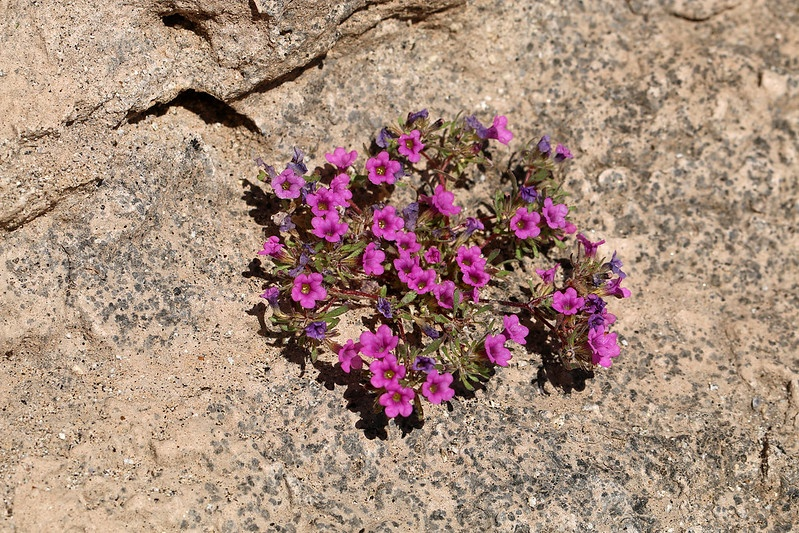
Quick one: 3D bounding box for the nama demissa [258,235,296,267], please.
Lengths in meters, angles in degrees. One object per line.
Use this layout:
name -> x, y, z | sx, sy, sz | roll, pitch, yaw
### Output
nama demissa -> -1.400, -0.161, 12.087 | 0.211, 0.261, 0.168 | -44, 69, 0

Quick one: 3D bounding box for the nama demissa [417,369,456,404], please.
nama demissa -> 0.392, 1.380, 11.444 | 0.417, 0.430, 0.200 | 18, 106, -1

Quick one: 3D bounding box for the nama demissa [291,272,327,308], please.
nama demissa -> -1.045, 0.222, 11.623 | 0.127, 0.419, 0.416 | -60, 33, 30

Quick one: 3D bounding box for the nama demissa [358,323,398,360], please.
nama demissa -> -0.233, 0.851, 11.632 | 0.430, 0.223, 0.336 | -19, 83, 0

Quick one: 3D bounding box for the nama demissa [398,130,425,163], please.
nama demissa -> 0.123, -1.396, 12.215 | 0.299, 0.229, 0.368 | 12, 84, 3

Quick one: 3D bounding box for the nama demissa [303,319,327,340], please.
nama demissa -> -0.930, 0.703, 11.608 | 0.198, 0.092, 0.199 | 10, 65, 18
